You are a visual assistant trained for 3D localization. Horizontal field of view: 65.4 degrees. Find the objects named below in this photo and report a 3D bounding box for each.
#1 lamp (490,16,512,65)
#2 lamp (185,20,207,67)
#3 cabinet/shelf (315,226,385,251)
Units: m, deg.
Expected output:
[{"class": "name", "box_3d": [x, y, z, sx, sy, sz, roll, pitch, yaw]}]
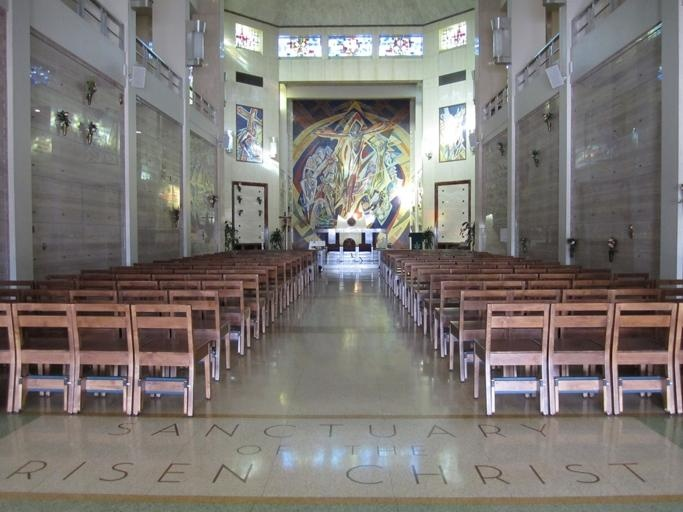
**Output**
[{"class": "lamp", "box_3d": [4.781, -6.455, 15.777, 0.571, 1.386, 0.444, 1, 10, 9]}, {"class": "lamp", "box_3d": [-4.417, -6.420, 15.951, 0.555, 1.357, 0.397, -3, 10, -15]}, {"class": "cabinet/shelf", "box_3d": [0.830, -1.193, 31.838, 3.672, 1.337, 3.402, -5, 10, -29]}]
